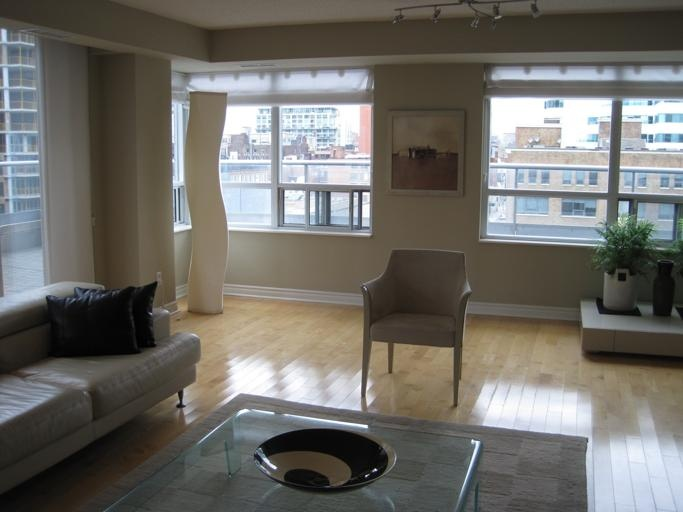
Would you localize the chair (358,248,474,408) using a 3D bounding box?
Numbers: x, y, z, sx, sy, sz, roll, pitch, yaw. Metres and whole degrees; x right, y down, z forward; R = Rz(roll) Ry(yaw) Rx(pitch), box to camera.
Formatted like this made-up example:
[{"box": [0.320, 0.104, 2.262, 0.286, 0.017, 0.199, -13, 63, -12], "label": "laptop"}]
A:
[{"box": [0.639, 0.530, 4.278, 0.809, 1.118, 0.796, 3, 5, 28], "label": "chair"}]

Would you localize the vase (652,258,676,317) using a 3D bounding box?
[{"box": [3.211, 0.320, 5.408, 0.179, 0.533, 0.299, 5, 10, 30], "label": "vase"}]

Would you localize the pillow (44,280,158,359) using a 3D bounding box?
[{"box": [-1.642, 0.455, 3.686, 0.526, 0.538, 0.159, -1, -14, -6], "label": "pillow"}]

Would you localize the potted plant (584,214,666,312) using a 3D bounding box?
[{"box": [2.911, 0.113, 5.617, 0.594, 0.895, 0.536, 6, -4, 9], "label": "potted plant"}]

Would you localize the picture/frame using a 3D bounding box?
[{"box": [0.989, -1.194, 6.151, 0.916, 1.025, 0.037, 2, 6, 11], "label": "picture/frame"}]
